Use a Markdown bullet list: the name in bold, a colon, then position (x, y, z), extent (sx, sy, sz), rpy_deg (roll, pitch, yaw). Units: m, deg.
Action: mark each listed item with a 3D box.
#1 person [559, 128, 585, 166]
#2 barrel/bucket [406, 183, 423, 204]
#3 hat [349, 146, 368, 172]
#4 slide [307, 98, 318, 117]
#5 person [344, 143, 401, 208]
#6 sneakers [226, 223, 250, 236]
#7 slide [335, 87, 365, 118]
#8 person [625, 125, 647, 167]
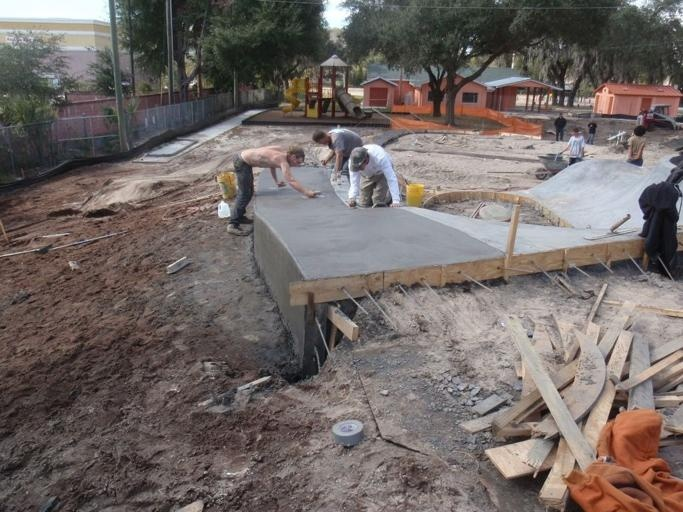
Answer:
- **person**: position (7.108, -3.310, 14.242), extent (0.427, 1.121, 1.616), rpy_deg (4, 18, 25)
- **barrel/bucket**: position (1.453, -1.168, 9.299), extent (0.288, 0.485, 0.601), rpy_deg (0, 17, 13)
- **hat**: position (0.314, -1.656, 7.924), extent (0.270, 0.405, 0.216), rpy_deg (3, -9, 33)
- **slide**: position (-1.703, -8.526, 26.963), extent (0.685, 1.155, 2.149), rpy_deg (-4, 16, -3)
- **person**: position (0.570, -1.384, 8.396), extent (0.873, 1.147, 1.049), rpy_deg (-2, 16, 4)
- **sneakers**: position (-2.093, -0.540, 9.634), extent (0.525, 0.221, 0.208), rpy_deg (-1, 30, -2)
- **slide**: position (0.418, -8.774, 27.036), extent (1.463, 1.774, 4.350), rpy_deg (-4, 16, 0)
- **person**: position (7.825, -3.014, 12.415), extent (0.354, 0.327, 1.049), rpy_deg (0, -27, 27)
